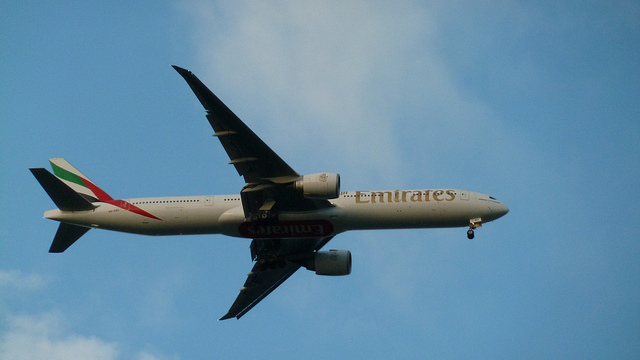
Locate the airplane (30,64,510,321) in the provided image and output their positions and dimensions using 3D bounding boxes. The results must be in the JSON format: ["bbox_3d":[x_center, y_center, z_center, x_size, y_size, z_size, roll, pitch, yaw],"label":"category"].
[{"bbox_3d":[-4.540,2.397,65.654,23.792,7.399,12.886,26,-51,-4],"label":"airplane"}]
